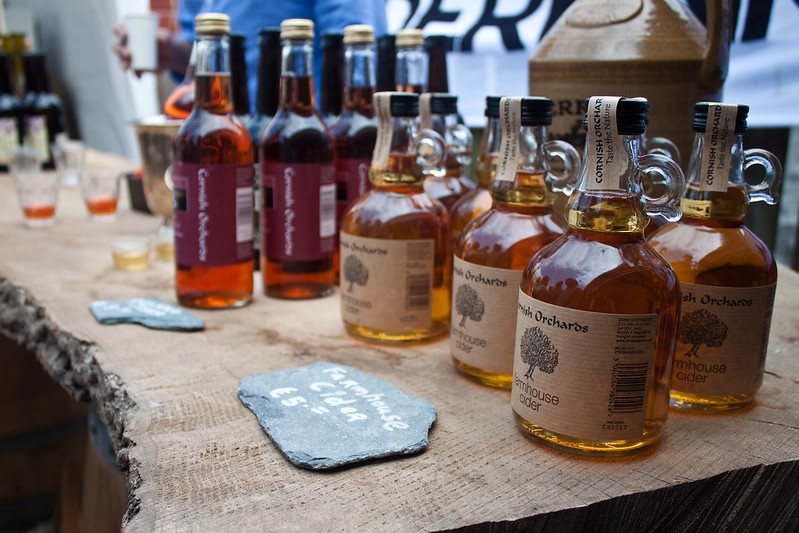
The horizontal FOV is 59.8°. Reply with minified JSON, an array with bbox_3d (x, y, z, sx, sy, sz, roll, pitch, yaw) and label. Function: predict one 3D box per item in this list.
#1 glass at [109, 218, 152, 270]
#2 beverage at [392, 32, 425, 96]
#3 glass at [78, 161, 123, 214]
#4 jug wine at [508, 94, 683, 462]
[{"bbox_3d":[-0.565,-0.030,1.452,0.079,0.064,0.083,10,13,34],"label":"glass"},{"bbox_3d":[0.013,-0.374,1.303,0.075,0.124,0.071,-7,21,-18],"label":"beverage"},{"bbox_3d":[-0.755,-0.208,1.821,0.128,0.134,0.130,0,1,-2],"label":"glass"},{"bbox_3d":[0.256,0.018,0.894,0.205,0.460,0.118,4,17,13],"label":"jug wine"}]
